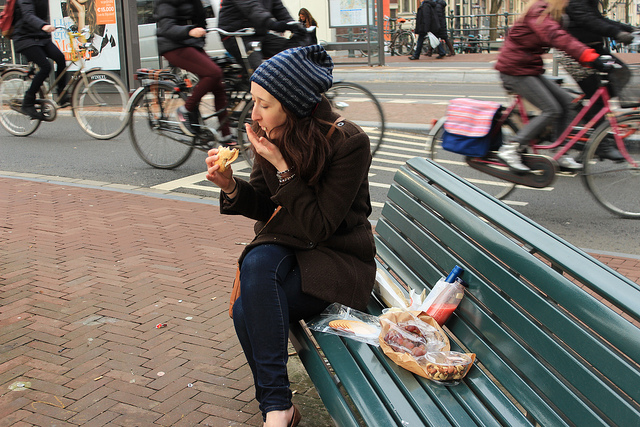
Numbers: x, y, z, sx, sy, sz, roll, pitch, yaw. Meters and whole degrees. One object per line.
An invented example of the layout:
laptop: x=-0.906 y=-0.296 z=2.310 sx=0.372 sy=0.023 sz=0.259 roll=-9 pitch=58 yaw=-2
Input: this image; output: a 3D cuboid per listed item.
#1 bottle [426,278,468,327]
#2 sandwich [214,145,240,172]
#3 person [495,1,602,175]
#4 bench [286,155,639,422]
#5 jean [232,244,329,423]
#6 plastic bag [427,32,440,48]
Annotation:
bottle: x=0.634 y=0.488 z=2.260 sx=0.132 sy=0.317 sz=0.119 roll=19 pitch=11 yaw=-3
sandwich: x=-0.511 y=-0.315 z=2.517 sx=0.139 sy=0.049 sz=0.147 roll=28 pitch=71 yaw=36
person: x=2.592 y=-1.476 z=5.075 sx=1.058 sy=1.945 sz=0.885 roll=7 pitch=23 yaw=17
bench: x=0.695 y=0.374 z=2.259 sx=0.859 sy=0.712 sz=1.767 roll=-14 pitch=29 yaw=-12
jean: x=-0.227 y=0.578 z=2.270 sx=0.590 sy=0.759 sz=0.572 roll=1 pitch=0 yaw=-6
plastic bag: x=5.602 y=-8.628 z=21.279 sx=0.466 sy=0.711 sz=0.631 roll=-4 pitch=21 yaw=-9
